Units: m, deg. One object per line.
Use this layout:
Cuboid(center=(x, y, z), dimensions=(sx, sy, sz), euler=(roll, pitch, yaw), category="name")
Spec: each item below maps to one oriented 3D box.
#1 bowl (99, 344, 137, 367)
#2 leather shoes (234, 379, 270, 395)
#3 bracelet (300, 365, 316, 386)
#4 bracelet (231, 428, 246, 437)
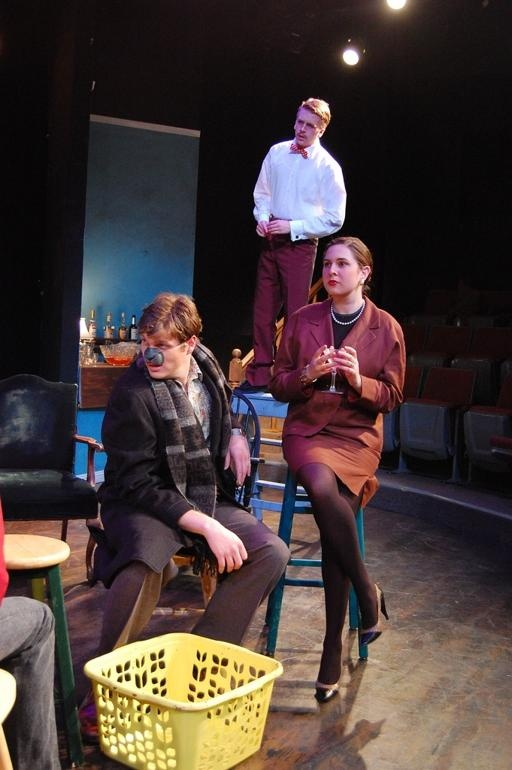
Cuboid(center=(-1.150, -0.272, 4.784), dimensions=(0.312, 0.175, 0.308), euler=(-1, -4, 0), category="bowl")
Cuboid(center=(-0.018, 0.009, 2.956), dimensions=(0.129, 0.074, 0.042), euler=(10, -20, 0), category="leather shoes")
Cuboid(center=(0.170, -0.034, 1.805), dimensions=(0.049, 0.063, 0.057), euler=(5, 36, -8), category="bracelet")
Cuboid(center=(-0.055, 0.143, 1.737), dimensions=(0.033, 0.023, 0.040), euler=(0, -11, -2), category="bracelet")
